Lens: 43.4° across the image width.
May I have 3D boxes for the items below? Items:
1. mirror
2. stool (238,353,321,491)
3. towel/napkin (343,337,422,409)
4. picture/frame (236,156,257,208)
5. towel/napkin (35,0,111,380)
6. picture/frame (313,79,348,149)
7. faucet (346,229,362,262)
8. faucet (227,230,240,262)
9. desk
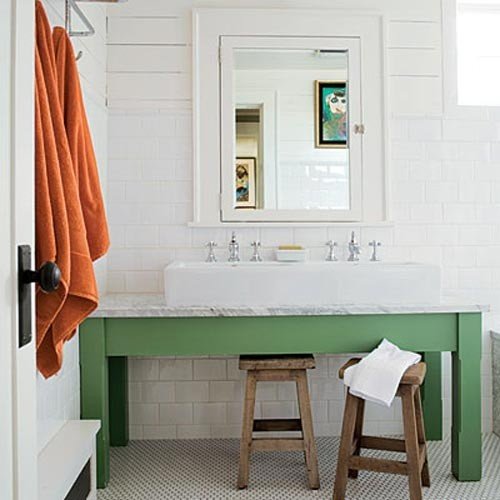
[{"bbox_3d":[0.167,-0.597,2.967,0.688,1.101,0.040,0,1,-5],"label":"mirror"},{"bbox_3d":[0.115,0.706,2.754,0.393,0.693,0.425,-1,-2,3],"label":"stool"},{"bbox_3d":[0.477,0.449,2.345,0.216,0.155,0.281,8,13,41],"label":"towel/napkin"},{"bbox_3d":[-0.037,-0.321,2.975,0.117,0.274,0.020,2,-24,-5],"label":"picture/frame"},{"bbox_3d":[-0.606,-0.181,2.102,0.246,1.259,0.539,-2,8,-13],"label":"towel/napkin"},{"bbox_3d":[0.395,-0.644,2.989,0.160,0.360,0.024,2,-15,3],"label":"picture/frame"},{"bbox_3d":[0.485,-0.008,2.931,0.064,0.139,0.185,1,10,10],"label":"faucet"},{"bbox_3d":[-0.074,-0.005,2.922,0.056,0.129,0.152,-1,9,-2],"label":"faucet"},{"bbox_3d":[0.124,0.548,2.825,1.615,0.952,0.719,1,14,-7],"label":"desk"}]
